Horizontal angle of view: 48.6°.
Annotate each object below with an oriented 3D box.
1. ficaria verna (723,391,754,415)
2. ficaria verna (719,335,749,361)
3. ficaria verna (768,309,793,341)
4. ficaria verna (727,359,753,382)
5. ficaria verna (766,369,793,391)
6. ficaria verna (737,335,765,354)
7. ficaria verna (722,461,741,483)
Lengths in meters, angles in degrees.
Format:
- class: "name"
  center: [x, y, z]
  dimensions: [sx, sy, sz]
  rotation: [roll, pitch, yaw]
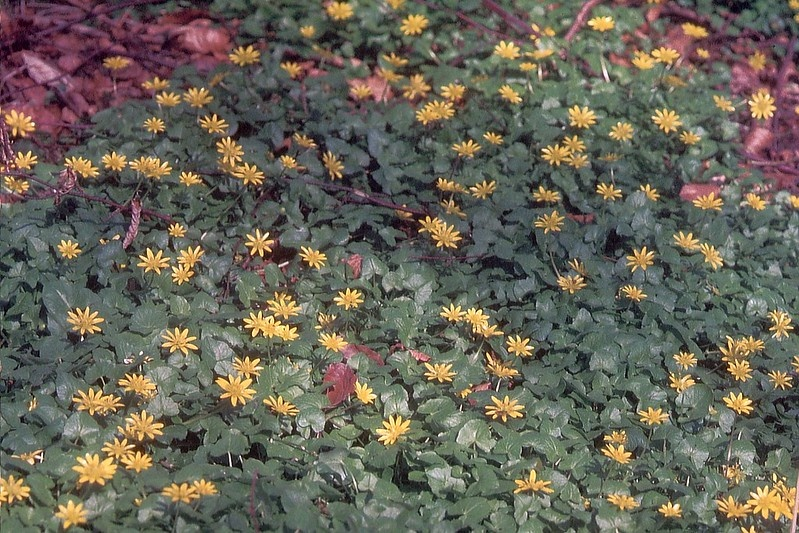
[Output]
- class: "ficaria verna"
  center: [1.751, 0.728, 4.594]
  dimensions: [0.131, 0.054, 0.134]
  rotation: [-27, 45, -18]
- class: "ficaria verna"
  center: [1.794, 0.451, 4.759]
  dimensions: [0.149, 0.123, 0.134]
  rotation: [5, 83, 0]
- class: "ficaria verna"
  center: [2.080, 0.322, 4.848]
  dimensions: [0.152, 0.058, 0.155]
  rotation: [-17, 88, -31]
- class: "ficaria verna"
  center: [1.790, 0.564, 4.698]
  dimensions: [0.114, 0.031, 0.114]
  rotation: [-34, 73, -21]
- class: "ficaria verna"
  center: [1.997, 0.601, 4.654]
  dimensions: [0.098, 0.027, 0.100]
  rotation: [32, 68, 28]
- class: "ficaria verna"
  center: [1.870, 0.421, 4.744]
  dimensions: [0.111, 0.114, 0.047]
  rotation: [-19, 117, -41]
- class: "ficaria verna"
  center: [1.656, 1.043, 4.417]
  dimensions: [0.101, 0.030, 0.097]
  rotation: [4, 83, 0]
